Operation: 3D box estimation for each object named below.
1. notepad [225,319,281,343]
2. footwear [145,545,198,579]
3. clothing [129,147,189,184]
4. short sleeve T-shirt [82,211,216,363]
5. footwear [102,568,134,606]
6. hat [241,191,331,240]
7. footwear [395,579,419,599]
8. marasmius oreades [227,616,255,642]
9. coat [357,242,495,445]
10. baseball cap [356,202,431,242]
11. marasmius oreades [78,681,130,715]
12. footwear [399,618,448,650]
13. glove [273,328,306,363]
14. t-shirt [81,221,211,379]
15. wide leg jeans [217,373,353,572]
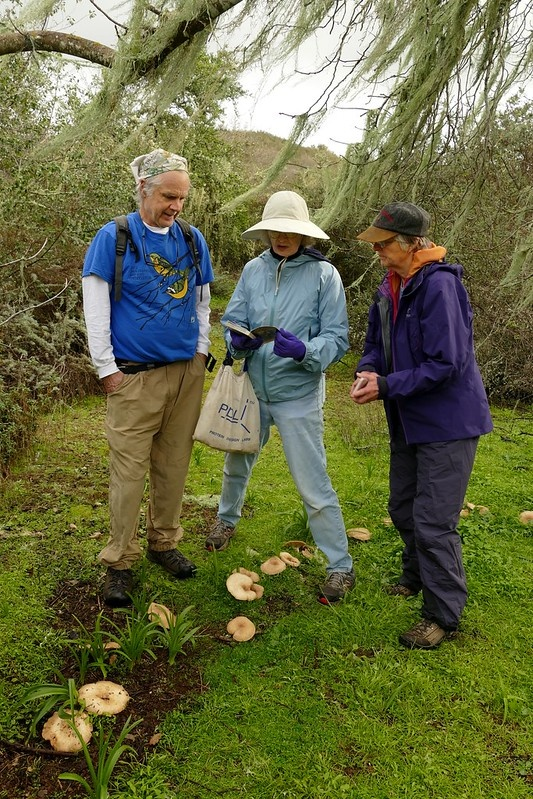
[{"bbox_3d":[-0.051,-0.372,3.724,0.201,0.081,0.141,9,-2,27],"label":"notepad"},{"bbox_3d":[-0.574,1.002,4.116,0.351,0.140,0.128,14,10,30],"label":"footwear"},{"bbox_3d":[-0.575,-1.202,3.483,0.266,0.186,0.186,5,-38,16],"label":"clothing"},{"bbox_3d":[-0.646,-0.611,3.699,0.858,0.781,0.436,-12,25,-42],"label":"short sleeve T-shirt"},{"bbox_3d":[-0.831,1.056,3.688,0.111,0.124,0.305,10,-3,-18],"label":"footwear"},{"bbox_3d":[0.153,-1.061,3.837,0.535,0.243,0.482,-6,9,-28],"label":"hat"},{"bbox_3d":[0.827,1.132,3.957,0.144,0.096,0.066,35,-5,20],"label":"footwear"},{"bbox_3d":[-0.139,1.221,3.496,0.147,0.089,0.160,9,7,15],"label":"marasmius oreades"},{"bbox_3d":[0.799,-0.285,3.518,0.489,1.064,0.717,3,8,-38],"label":"coat"},{"bbox_3d":[0.654,-0.890,3.349,0.314,0.158,0.190,-1,33,5],"label":"baseball cap"},{"bbox_3d":[-0.714,1.327,2.892,0.222,0.092,0.182,6,6,-11],"label":"marasmius oreades"},{"bbox_3d":[0.812,1.225,3.429,0.286,0.111,0.102,6,3,-24],"label":"footwear"},{"bbox_3d":[0.112,-0.291,3.598,0.197,0.156,0.080,11,7,26],"label":"glove"},{"bbox_3d":[-0.639,-0.535,3.595,0.815,0.795,0.435,-13,33,-40],"label":"t-shirt"},{"bbox_3d":[0.092,0.549,4.451,1.159,1.633,0.378,10,21,23],"label":"wide leg jeans"}]
